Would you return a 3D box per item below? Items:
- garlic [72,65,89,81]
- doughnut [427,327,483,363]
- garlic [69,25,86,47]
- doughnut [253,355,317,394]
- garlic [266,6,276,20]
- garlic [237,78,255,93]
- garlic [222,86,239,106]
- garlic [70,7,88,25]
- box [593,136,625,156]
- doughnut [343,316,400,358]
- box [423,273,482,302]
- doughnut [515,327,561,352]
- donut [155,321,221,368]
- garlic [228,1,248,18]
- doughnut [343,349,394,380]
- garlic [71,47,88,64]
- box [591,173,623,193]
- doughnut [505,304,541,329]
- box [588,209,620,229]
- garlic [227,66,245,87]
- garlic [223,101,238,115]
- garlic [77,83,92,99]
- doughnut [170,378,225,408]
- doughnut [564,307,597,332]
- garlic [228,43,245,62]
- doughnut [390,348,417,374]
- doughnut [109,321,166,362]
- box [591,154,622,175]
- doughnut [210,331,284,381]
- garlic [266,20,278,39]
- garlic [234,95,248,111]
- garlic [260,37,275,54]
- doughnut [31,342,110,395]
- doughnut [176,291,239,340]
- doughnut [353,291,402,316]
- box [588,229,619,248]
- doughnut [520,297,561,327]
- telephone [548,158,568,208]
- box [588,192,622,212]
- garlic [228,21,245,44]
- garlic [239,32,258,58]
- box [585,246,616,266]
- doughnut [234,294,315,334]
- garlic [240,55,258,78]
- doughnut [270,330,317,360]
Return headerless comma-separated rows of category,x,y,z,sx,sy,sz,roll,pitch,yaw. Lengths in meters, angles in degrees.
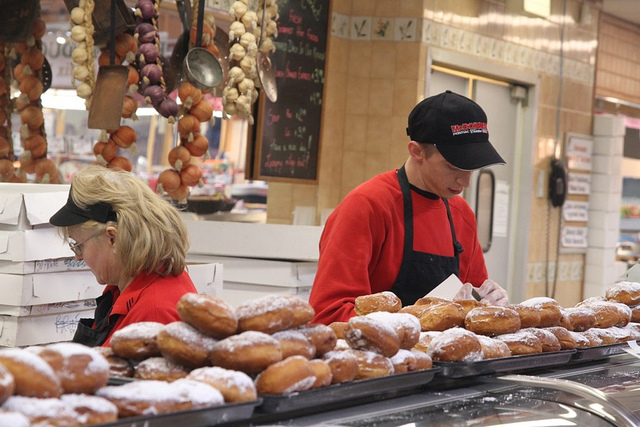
garlic,-1.299,-0.760,4.056,0.080,0.069,0.068,-5,-26,-47
doughnut,0.508,0.483,2.774,0.126,0.088,0.132,-4,-5,10
garlic,-1.334,-0.976,4.064,0.127,0.082,0.062,1,-2,41
doughnut,-0.107,0.535,2.462,0.129,0.050,0.135,-26,-8,19
garlic,-0.305,-1.249,4.640,0.056,0.053,0.064,-33,-32,-10
garlic,-0.437,-0.754,4.404,0.086,0.070,0.071,15,25,-18
garlic,-0.529,-0.692,4.388,0.077,0.106,0.082,38,-5,8
garlic,-1.315,-1.066,4.043,0.067,0.092,0.083,-18,30,-34
box,3.121,-0.727,8.096,0.226,0.154,0.237,0,1,26
doughnut,0.179,0.433,2.592,0.161,0.093,0.124,16,12,-7
box,0.600,0.338,3.468,0.110,0.101,0.252,2,-2,33
doughnut,0.876,0.488,2.941,0.128,0.050,0.095,0,-5,32
donut,-0.444,0.429,2.461,0.150,0.052,0.153,20,-4,2
garlic,-0.490,-1.203,4.464,0.076,0.082,0.101,37,53,27
doughnut,0.186,0.516,2.587,0.110,0.061,0.106,-4,-6,31
garlic,-1.297,-0.851,4.041,0.069,0.073,0.080,4,-2,-44
box,3.130,-0.317,8.150,0.225,0.145,0.219,0,1,-44
doughnut,0.811,0.418,2.977,0.093,0.053,0.099,3,-10,-16
box,3.093,0.086,8.154,0.222,0.176,0.223,2,-2,-35
garlic,-0.490,-0.797,4.395,0.094,0.123,0.052,3,-2,-11
garlic,-0.526,-0.610,4.406,0.072,0.061,0.060,-9,11,-30
garlic,-1.282,-0.664,4.112,0.061,0.077,0.078,11,-13,23
doughnut,-0.379,0.563,2.351,0.102,0.032,0.092,23,2,-1
doughnut,1.095,0.434,3.110,0.097,0.053,0.106,3,1,15
garlic,-0.490,-0.952,4.412,0.077,0.102,0.076,41,-21,24
doughnut,0.294,0.525,2.630,0.062,0.069,0.086,-4,-12,-13
doughnut,-0.612,0.427,2.479,0.128,0.072,0.132,-7,-9,38
box,3.115,-0.519,8.105,0.232,0.249,0.236,4,-7,-4
doughnut,-0.237,0.463,2.470,0.155,0.097,0.158,-4,-5,21
garlic,-0.309,-1.151,4.659,0.069,0.092,0.067,-32,-22,29
garlic,-0.461,-0.644,4.389,0.071,0.092,0.074,4,18,36
garlic,-0.311,-1.025,4.589,0.089,0.078,0.071,9,7,41
doughnut,-0.739,0.457,2.282,0.158,0.088,0.161,-1,-6,39
doughnut,-0.376,0.340,2.540,0.176,0.097,0.144,27,-4,-18
doughnut,0.234,0.355,2.902,0.154,0.088,0.169,3,-2,-25
box,3.098,0.309,8.149,0.229,0.235,0.214,5,-8,-42
doughnut,0.908,0.411,3.044,0.117,0.090,0.125,-3,-10,3
telephone,2.416,-0.315,7.545,0.223,0.449,0.115,1,-1,13
box,3.096,-0.116,8.118,0.238,0.161,0.250,1,0,18
garlic,-0.503,-1.064,4.419,0.051,0.102,0.078,13,29,-43
garlic,-0.419,-0.993,4.440,0.076,0.107,0.132,8,-16,30
box,3.064,0.501,8.144,0.228,0.232,0.217,9,-8,-36
doughnut,-0.170,0.341,2.593,0.186,0.080,0.146,-3,-2,-15
garlic,-0.402,-0.872,4.446,0.112,0.088,0.058,39,26,8
doughnut,-0.080,0.444,2.527,0.104,0.062,0.109,4,-6,1
